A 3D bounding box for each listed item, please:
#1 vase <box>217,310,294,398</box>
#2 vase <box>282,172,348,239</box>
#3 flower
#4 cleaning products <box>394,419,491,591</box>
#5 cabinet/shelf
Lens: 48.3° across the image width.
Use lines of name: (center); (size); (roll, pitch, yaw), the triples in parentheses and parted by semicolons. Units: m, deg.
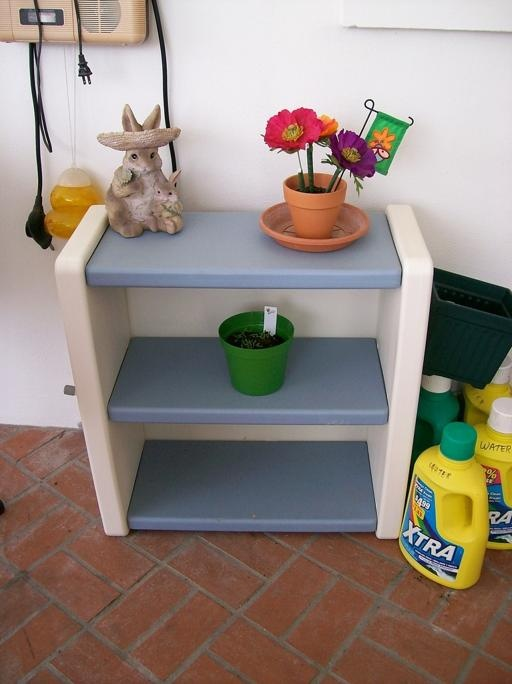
vase: (0.003, 0.011, 1.428); (0.203, 0.160, 0.212); (2, 34, 3)
vase: (0.130, -0.275, 1.253); (0.150, 0.110, 0.146); (-2, 38, 1)
flower: (0.142, -0.356, 1.192); (0.217, 0.210, 0.158); (37, 64, 29)
cleaning products: (0.471, 0.393, 1.384); (0.140, 0.392, 0.210); (-16, 30, -29)
cabinet/shelf: (-0.017, 0.071, 1.419); (0.870, 0.398, 0.796); (-3, 46, 0)
